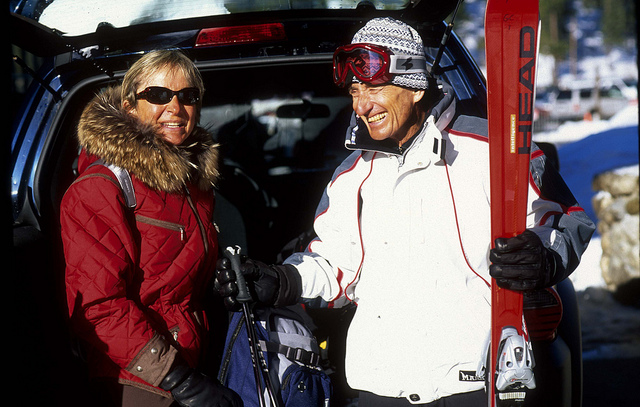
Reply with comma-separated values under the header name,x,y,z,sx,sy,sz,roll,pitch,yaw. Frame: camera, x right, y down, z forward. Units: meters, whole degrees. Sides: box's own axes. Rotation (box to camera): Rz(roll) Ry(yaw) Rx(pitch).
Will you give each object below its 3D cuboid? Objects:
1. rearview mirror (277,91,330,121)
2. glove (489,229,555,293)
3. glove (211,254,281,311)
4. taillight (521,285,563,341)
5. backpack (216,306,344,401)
name,x,y,z,sx,sy,sz,roll,pitch,yaw
rearview mirror,-0.130,-0.772,6.150,0.402,0.204,0.145,1,-2,3
glove,1.021,0.292,4.007,0.299,0.301,0.047,1,-2,1
glove,-0.387,0.416,4.189,0.498,0.328,0.320,-3,13,-12
taillight,1.225,0.616,4.313,0.236,0.299,0.073,2,-2,-22
backpack,-0.175,0.825,4.449,0.588,0.754,0.468,-10,-11,40
